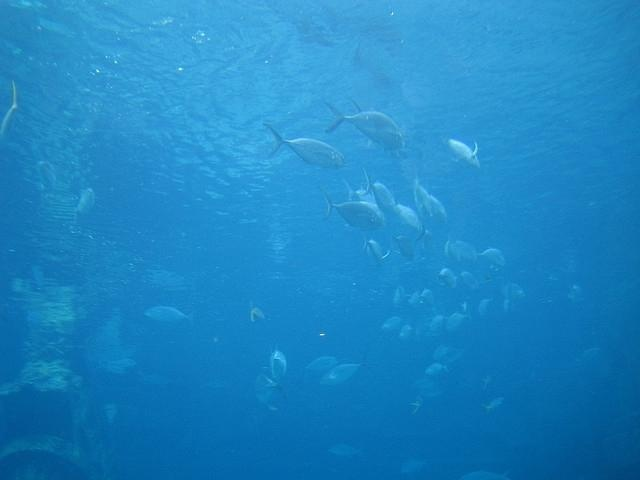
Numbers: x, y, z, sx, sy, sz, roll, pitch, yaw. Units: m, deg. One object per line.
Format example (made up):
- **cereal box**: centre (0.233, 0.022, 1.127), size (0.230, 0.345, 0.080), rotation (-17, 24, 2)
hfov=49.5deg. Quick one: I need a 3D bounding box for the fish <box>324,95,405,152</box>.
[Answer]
- **fish**: centre (1.865, -4.373, 25.850), size (2.564, 1.773, 1.035), rotation (12, -59, -31)
